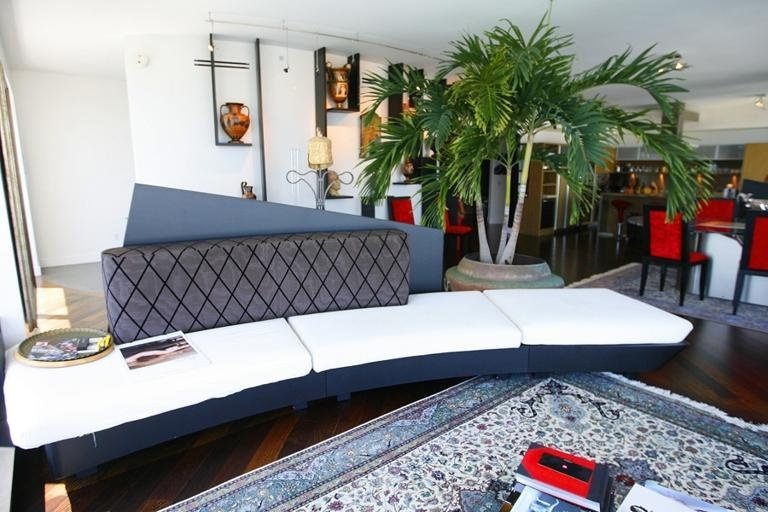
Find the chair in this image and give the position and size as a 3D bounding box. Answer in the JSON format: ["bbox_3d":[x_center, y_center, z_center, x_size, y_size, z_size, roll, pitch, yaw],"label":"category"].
[{"bbox_3d":[3.832,0.025,5.665,1.064,1.791,1.030,-17,21,-33],"label":"chair"}]

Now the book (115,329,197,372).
[{"bbox_3d":[-1.603,0.666,3.357,0.445,0.068,0.406,-11,17,-32],"label":"book"}]
